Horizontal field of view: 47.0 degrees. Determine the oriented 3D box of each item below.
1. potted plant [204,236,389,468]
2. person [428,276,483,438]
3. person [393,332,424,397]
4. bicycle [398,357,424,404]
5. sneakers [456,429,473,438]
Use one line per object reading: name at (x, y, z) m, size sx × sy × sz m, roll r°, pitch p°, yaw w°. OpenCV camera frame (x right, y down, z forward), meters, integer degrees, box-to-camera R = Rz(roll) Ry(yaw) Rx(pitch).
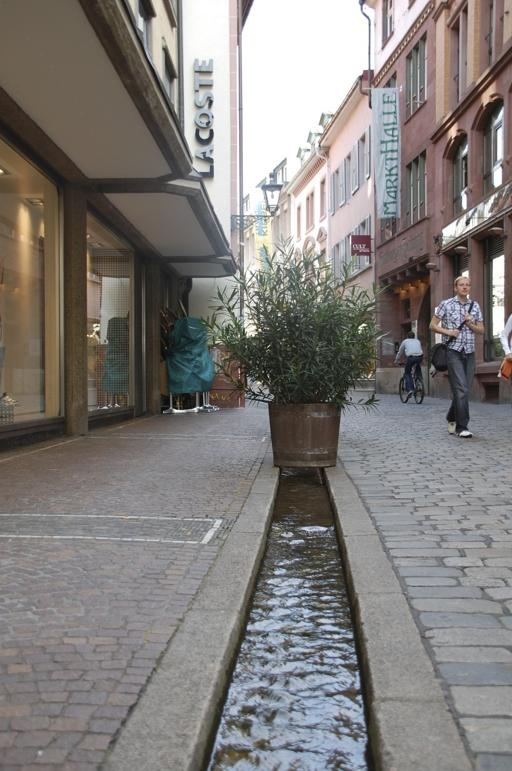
potted plant at (0.482, -0.211, 5.985) m, size 1.497 × 2.067 × 1.585 m, roll -2°, pitch 3°, yaw -34°
person at (2.955, -0.467, 8.616) m, size 0.706 × 1.589 × 0.918 m, roll -3°, pitch 1°, yaw 22°
person at (4.596, -0.600, 17.729) m, size 0.664 × 1.305 × 1.048 m, roll -3°, pitch 1°, yaw -4°
bicycle at (4.732, -0.127, 17.984) m, size 0.644 × 0.955 × 1.440 m, roll 2°, pitch 4°, yaw 0°
sneakers at (2.944, 0.674, 8.313) m, size 0.082 × 0.102 × 0.226 m, roll 0°, pitch -6°, yaw -8°
